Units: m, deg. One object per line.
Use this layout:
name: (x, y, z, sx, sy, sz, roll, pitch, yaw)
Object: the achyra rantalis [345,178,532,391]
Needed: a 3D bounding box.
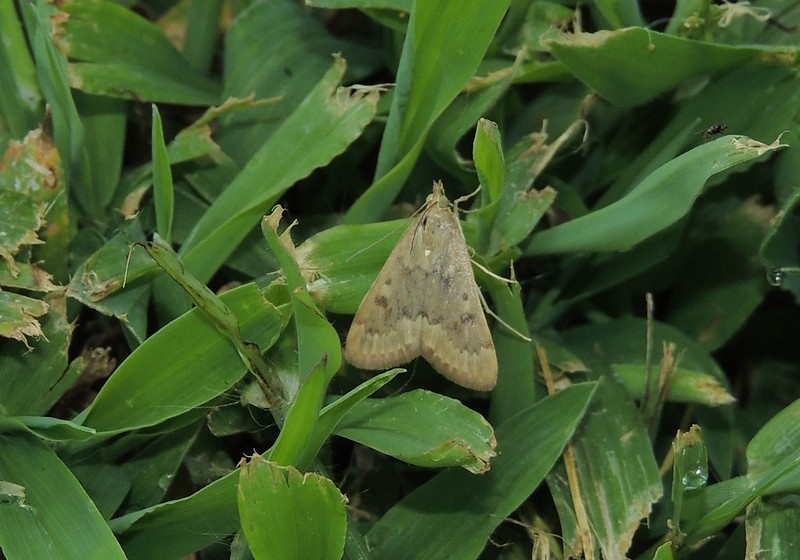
achyra rantalis: (0.040, 0.010, 0.924, 0.155, 0.214, 0.052, 3, -5, 8)
